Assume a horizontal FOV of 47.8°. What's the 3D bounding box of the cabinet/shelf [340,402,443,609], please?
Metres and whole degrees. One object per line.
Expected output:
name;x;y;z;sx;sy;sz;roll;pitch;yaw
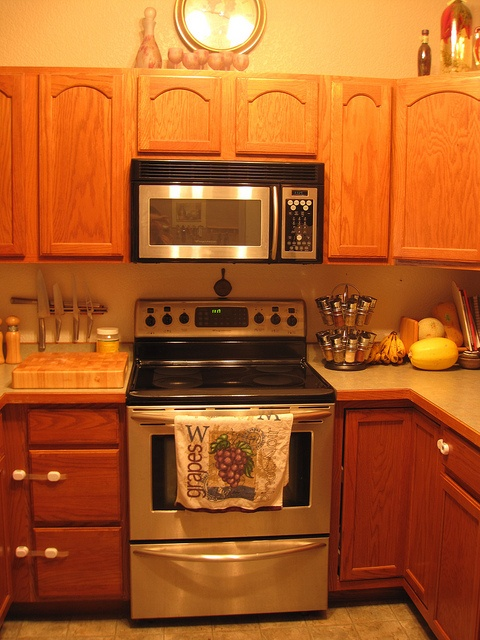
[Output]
cabinet/shelf;0.515;0.620;1.772;0.186;0.555;0.342;0;7;-6

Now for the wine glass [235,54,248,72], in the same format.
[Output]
wine glass;0.001;-0.967;2.044;0.054;0.054;0.055;-2;14;-8

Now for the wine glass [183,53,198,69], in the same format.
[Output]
wine glass;-0.184;-0.962;2.007;0.056;0.058;0.055;-5;18;-17

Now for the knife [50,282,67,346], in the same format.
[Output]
knife;-0.757;-0.027;2.258;0.042;0.251;0.089;-4;10;-18

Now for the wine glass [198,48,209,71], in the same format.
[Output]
wine glass;-0.138;-0.983;2.020;0.053;0.090;0.061;1;25;-1

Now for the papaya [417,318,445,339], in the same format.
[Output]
papaya;0.787;0.038;2.229;0.086;0.089;0.087;10;27;22

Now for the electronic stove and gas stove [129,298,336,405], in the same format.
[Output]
electronic stove and gas stove;-0.058;0.113;2.076;0.740;0.352;0.594;1;12;-10

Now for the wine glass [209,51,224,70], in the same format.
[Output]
wine glass;-0.089;-0.971;2.023;0.064;0.063;0.044;-3;10;-14

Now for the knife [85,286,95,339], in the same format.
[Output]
knife;-0.643;-0.029;2.280;0.034;0.210;0.009;1;-11;-7

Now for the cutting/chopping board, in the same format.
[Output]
cutting/chopping board;-0.587;0.165;1.930;0.358;0.067;0.413;-2;9;-9

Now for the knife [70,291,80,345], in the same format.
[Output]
knife;-0.693;-0.008;2.257;0.031;0.221;0.017;0;0;-3

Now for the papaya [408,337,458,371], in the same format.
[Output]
papaya;0.743;0.119;2.092;0.150;0.124;0.111;-5;11;-4
